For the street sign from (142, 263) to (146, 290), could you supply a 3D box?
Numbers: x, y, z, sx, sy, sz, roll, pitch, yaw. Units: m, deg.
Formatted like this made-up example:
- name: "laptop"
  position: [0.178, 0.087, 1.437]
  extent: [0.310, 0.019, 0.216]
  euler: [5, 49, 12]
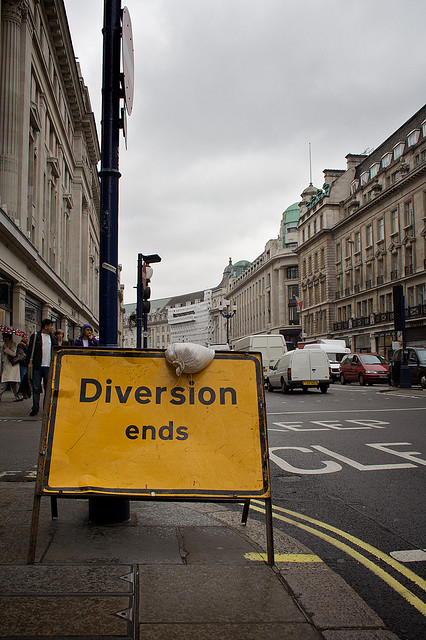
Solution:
- name: "street sign"
  position: [-1.805, -1.181, 15.165]
  extent: [0.098, 0.613, 0.372]
  euler: [-1, -5, -7]

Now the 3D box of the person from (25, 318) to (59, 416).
- name: "person"
  position: [-3.184, 0.868, 11.064]
  extent: [0.618, 1.901, 0.554]
  euler: [5, -13, -26]

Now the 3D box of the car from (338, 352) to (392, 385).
- name: "car"
  position: [7.660, 2.498, 29.573]
  extent: [1.398, 1.123, 2.374]
  euler: [2, -9, -15]

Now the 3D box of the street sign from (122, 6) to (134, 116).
- name: "street sign"
  position: [-0.595, -1.808, 4.055]
  extent: [0.068, 0.821, 0.330]
  euler: [0, -5, -9]

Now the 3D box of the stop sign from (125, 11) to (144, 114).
- name: "stop sign"
  position: [-0.583, -1.796, 4.071]
  extent: [0.089, 0.746, 0.329]
  euler: [0, -5, -16]

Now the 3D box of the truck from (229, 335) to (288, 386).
- name: "truck"
  position: [2.544, 1.914, 31.059]
  extent: [1.902, 2.486, 4.223]
  euler: [-4, 0, -7]
